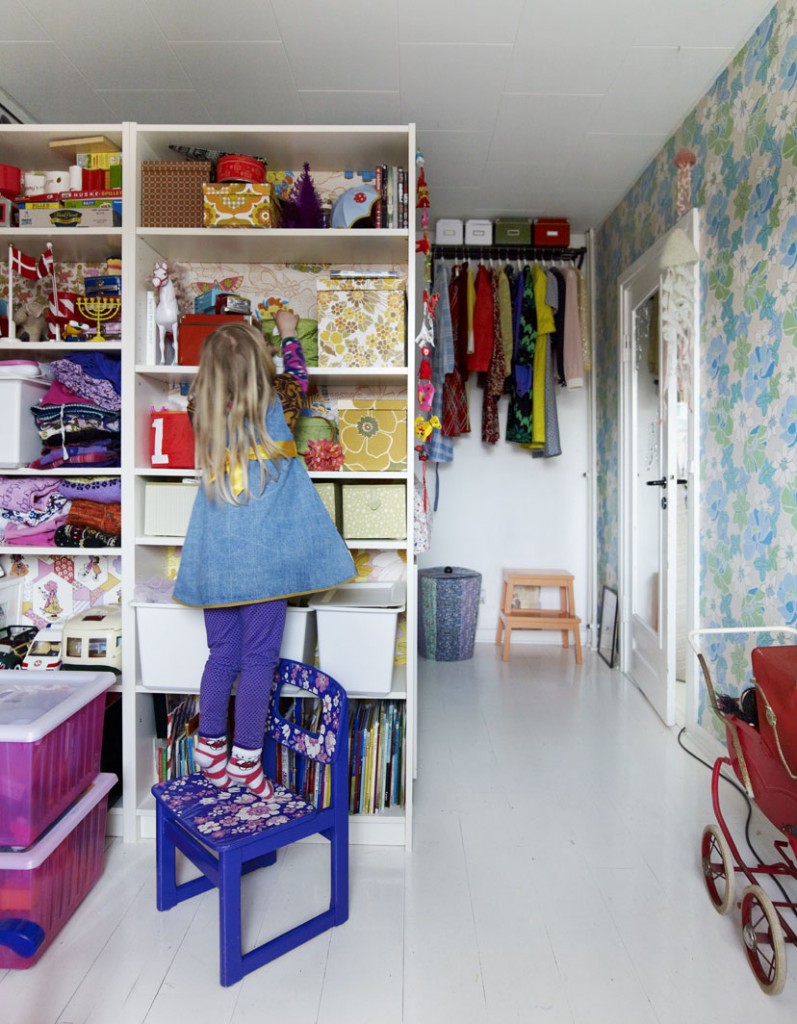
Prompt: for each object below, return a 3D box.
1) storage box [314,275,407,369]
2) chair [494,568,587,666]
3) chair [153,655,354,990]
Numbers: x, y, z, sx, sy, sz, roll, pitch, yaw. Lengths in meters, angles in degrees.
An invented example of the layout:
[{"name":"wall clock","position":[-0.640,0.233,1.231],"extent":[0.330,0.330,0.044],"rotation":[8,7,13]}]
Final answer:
[{"name":"storage box","position":[-0.107,-0.522,2.225],"extent":[0.219,0.255,0.244],"rotation":[0,6,3]},{"name":"chair","position":[0.744,0.538,4.255],"extent":[0.399,0.465,0.437],"rotation":[0,-2,2]},{"name":"chair","position":[-0.364,0.664,1.918],"extent":[0.374,0.562,0.492],"rotation":[-4,6,-40]}]
